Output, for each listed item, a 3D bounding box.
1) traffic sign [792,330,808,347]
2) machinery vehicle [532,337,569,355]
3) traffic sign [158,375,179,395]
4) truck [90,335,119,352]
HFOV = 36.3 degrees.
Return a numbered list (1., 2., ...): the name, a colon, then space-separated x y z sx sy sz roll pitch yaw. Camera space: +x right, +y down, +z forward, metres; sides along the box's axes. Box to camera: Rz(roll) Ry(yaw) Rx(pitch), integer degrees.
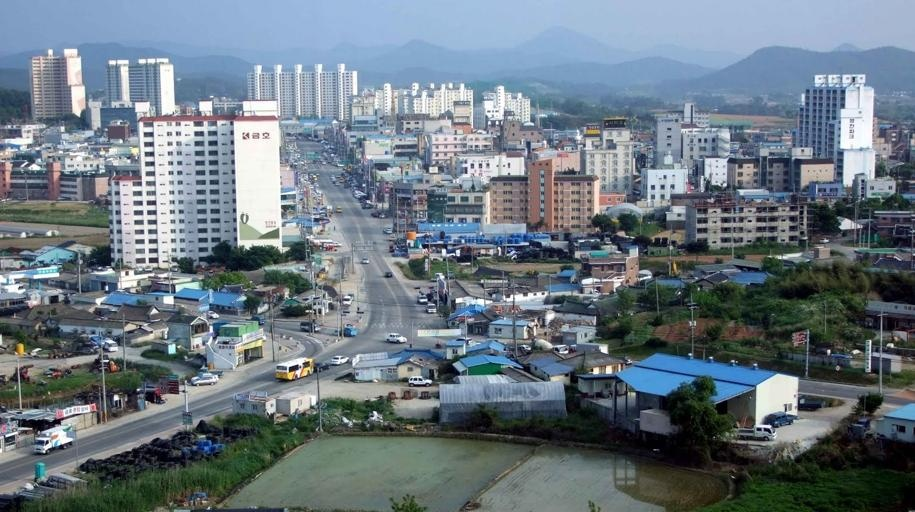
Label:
1. traffic sign: 15.501 3.745 63.056 0.669 0.746 0.705 1 5 12
2. machinery vehicle: 4.417 4.250 65.384 1.639 0.461 2.565 0 4 -6
3. traffic sign: -12.959 5.837 62.853 1.007 0.774 0.550 -2 5 -20
4. truck: -16.912 4.179 66.696 1.193 0.675 1.702 -3 6 -35
